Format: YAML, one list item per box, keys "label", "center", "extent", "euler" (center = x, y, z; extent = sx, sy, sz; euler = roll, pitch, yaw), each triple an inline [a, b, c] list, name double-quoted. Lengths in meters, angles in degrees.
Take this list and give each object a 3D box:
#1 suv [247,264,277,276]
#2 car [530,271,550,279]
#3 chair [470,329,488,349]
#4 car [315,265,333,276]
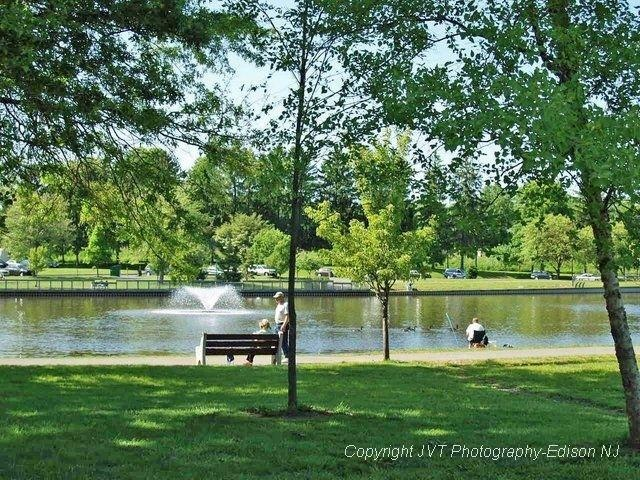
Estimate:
- label: "suv"
  center: [-5.245, 2.994, 88.056]
  extent: [2.531, 0.977, 1.206]
  euler: [-3, 1, 26]
- label: "car"
  center: [21.026, 3.410, 87.693]
  extent: [1.727, 0.657, 1.009]
  euler: [-3, 6, -9]
- label: "chair"
  center: [4.944, 3.105, 28.651]
  extent: [0.429, 0.556, 0.230]
  euler: [2, -17, 5]
- label: "car"
  center: [0.213, 3.074, 89.629]
  extent: [2.096, 0.790, 0.976]
  euler: [-2, 5, -4]
